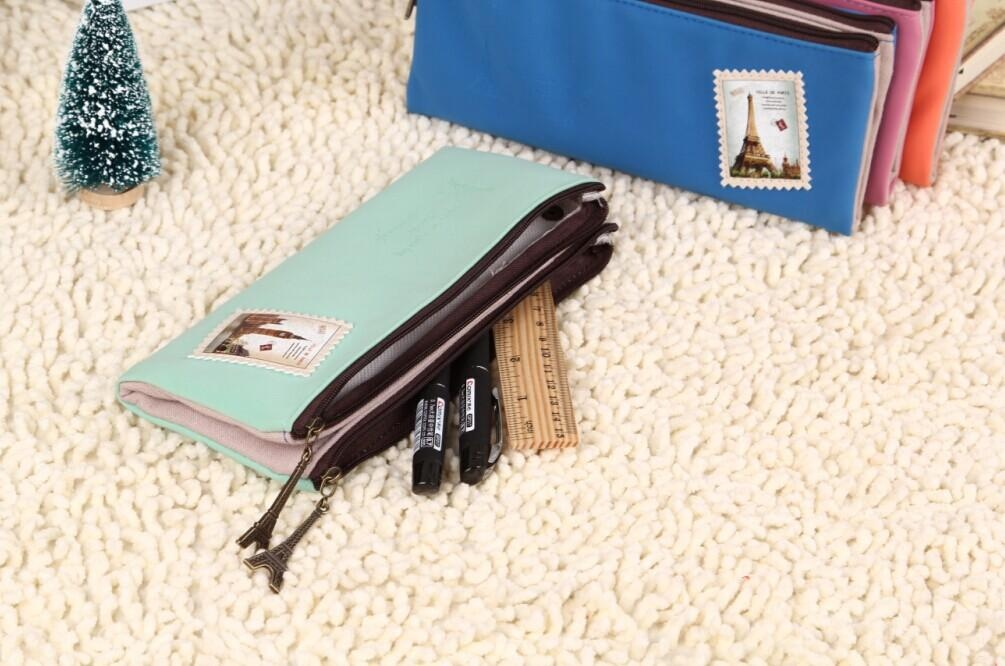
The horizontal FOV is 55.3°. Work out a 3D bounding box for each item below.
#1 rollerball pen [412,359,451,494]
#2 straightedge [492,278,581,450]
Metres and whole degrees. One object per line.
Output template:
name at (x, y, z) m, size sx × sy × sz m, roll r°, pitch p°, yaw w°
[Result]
rollerball pen at (-0.083, 0.128, 1.217) m, size 0.036 × 0.033 × 0.157 m, roll 20°, pitch 51°, yaw 2°
straightedge at (0.037, 0.049, 1.294) m, size 0.081 × 0.245 × 0.014 m, roll -12°, pitch 33°, yaw -5°
